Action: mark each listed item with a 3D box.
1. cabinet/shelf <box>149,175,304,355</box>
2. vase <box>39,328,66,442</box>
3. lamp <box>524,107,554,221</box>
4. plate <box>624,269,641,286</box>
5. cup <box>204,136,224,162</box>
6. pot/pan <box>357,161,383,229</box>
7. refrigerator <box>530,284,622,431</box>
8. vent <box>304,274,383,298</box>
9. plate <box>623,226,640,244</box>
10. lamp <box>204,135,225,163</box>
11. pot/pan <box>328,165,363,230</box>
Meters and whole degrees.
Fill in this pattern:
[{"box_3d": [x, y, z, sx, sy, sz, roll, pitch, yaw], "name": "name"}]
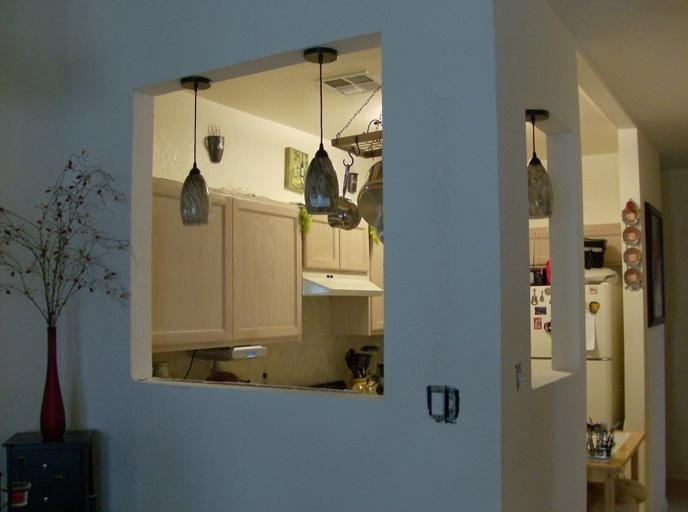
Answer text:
[{"box_3d": [-0.828, 0.090, 4.459, 0.336, 0.916, 1.102, -6, -9, 29], "name": "cabinet/shelf"}, {"box_3d": [-1.637, 0.707, 3.715, 0.153, 0.627, 0.117, -6, -8, 31], "name": "vase"}, {"box_3d": [1.055, -0.489, 3.547, 0.136, 0.640, 0.640, -4, -7, 17], "name": "lamp"}, {"box_3d": [2.273, 0.175, 5.165, 0.097, 0.131, 0.083, 7, 0, 31], "name": "plate"}, {"box_3d": [-0.891, -0.721, 4.552, 0.143, 0.186, 0.149, -3, -5, 0], "name": "cup"}, {"box_3d": [0.133, -0.322, 3.643, 0.118, 0.309, 0.449, -2, -7, -2], "name": "pot/pan"}, {"box_3d": [2.130, 0.844, 5.923, 0.871, 1.310, 0.615, 5, -9, -44], "name": "refrigerator"}, {"box_3d": [0.006, 0.225, 5.431, 0.277, 0.213, 0.875, -7, -9, 35], "name": "vent"}, {"box_3d": [2.276, -0.156, 5.189, 0.099, 0.136, 0.091, 9, 2, 13], "name": "plate"}, {"box_3d": [-0.889, -0.711, 4.533, 0.148, 0.198, 0.160, -1, -7, -10], "name": "lamp"}, {"box_3d": [-0.014, -0.317, 4.066, 0.191, 0.397, 0.159, 3, 19, -22], "name": "pot/pan"}]
